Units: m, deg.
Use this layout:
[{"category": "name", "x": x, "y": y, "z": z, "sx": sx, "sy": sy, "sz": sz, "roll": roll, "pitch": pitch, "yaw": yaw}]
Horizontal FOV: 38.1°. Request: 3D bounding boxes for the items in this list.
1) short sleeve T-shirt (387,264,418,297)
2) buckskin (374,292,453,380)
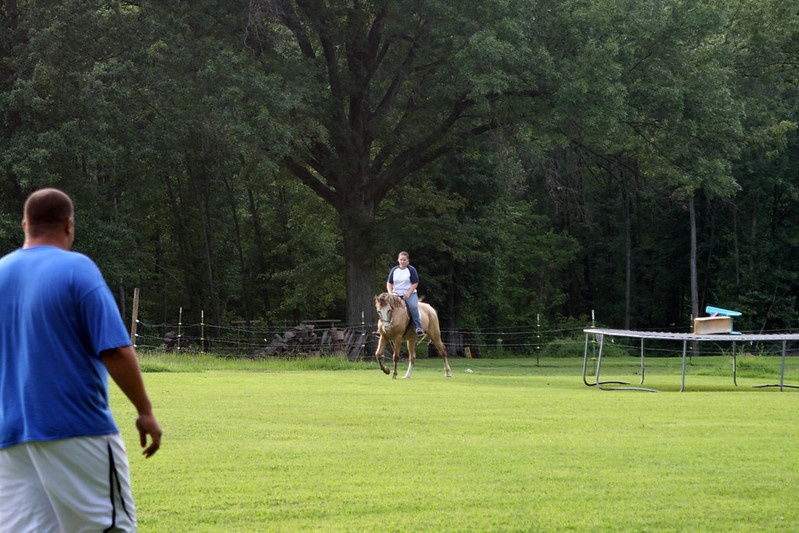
[{"category": "short sleeve T-shirt", "x": 0.136, "y": 0.524, "z": 40.524, "sx": 1.458, "sy": 1.375, "sz": 0.766, "roll": 0, "pitch": -6, "yaw": 14}, {"category": "buckskin", "x": 0.285, "y": 2.476, "z": 40.886, "sx": 1.157, "sy": 3.033, "sz": 4.938, "roll": -2, "pitch": -6, "yaw": 30}]
